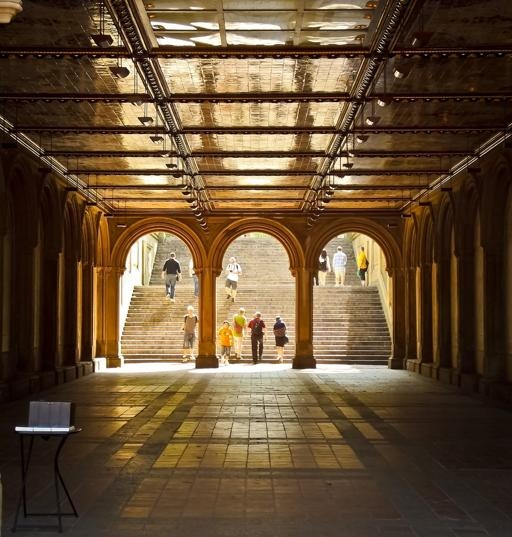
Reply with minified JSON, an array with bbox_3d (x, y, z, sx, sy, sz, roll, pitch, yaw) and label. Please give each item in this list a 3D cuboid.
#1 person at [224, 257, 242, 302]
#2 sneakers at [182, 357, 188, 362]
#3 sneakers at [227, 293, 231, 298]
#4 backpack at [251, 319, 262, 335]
[{"bbox_3d":[-1.213,0.564,23.656,0.717,2.403,1.553,1,-8,-3],"label":"person"},{"bbox_3d":[-3.131,4.035,20.077,0.198,0.183,0.198,1,-3,2],"label":"sneakers"},{"bbox_3d":[-1.429,1.504,23.926,0.202,0.197,0.183,-1,-14,-1],"label":"sneakers"},{"bbox_3d":[0.002,2.440,18.814,0.650,0.658,0.361,3,7,4],"label":"backpack"}]
